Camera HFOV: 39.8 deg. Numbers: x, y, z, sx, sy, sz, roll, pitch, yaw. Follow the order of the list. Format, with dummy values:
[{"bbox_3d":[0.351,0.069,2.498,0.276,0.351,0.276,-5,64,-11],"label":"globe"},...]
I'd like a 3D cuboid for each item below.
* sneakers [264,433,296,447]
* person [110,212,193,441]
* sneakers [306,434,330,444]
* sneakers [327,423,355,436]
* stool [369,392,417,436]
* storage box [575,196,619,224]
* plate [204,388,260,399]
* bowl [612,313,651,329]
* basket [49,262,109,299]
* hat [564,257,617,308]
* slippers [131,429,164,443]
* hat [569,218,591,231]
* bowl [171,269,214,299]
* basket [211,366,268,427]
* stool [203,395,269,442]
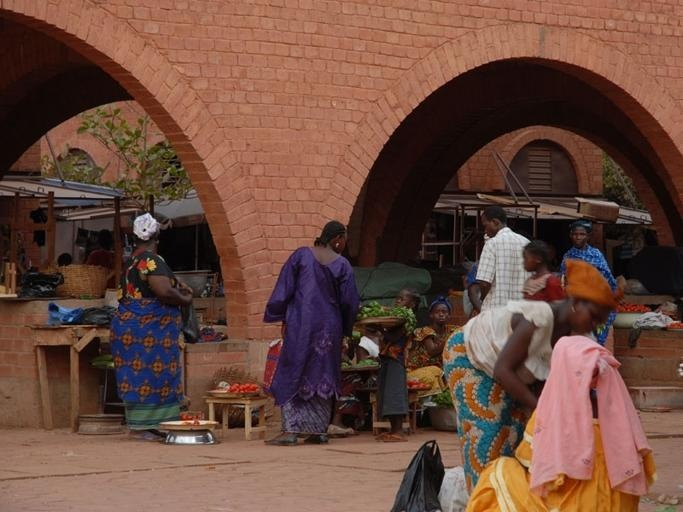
[{"bbox_3d":[-0.621,1.807,9.316,0.332,0.149,0.120,2,-2,19],"label":"sneakers"},{"bbox_3d":[-1.935,0.709,9.448,0.747,2.219,0.449,2,-6,-16],"label":"person"},{"bbox_3d":[-0.235,1.811,9.395,0.270,0.118,0.090,0,-4,30],"label":"sneakers"},{"bbox_3d":[-0.004,1.825,9.888,0.271,0.120,0.111,2,1,-20],"label":"sneakers"},{"bbox_3d":[0.535,1.725,9.935,0.506,0.550,0.413,-2,-5,12],"label":"stool"},{"bbox_3d":[4.961,-0.920,18.056,0.694,0.534,1.350,-2,-7,23],"label":"storage box"},{"bbox_3d":[-1.115,1.415,9.784,0.595,0.119,0.299,1,-6,-7],"label":"plate"},{"bbox_3d":[4.139,0.909,13.354,0.309,0.212,0.372,4,-7,-33],"label":"bowl"},{"bbox_3d":[-3.111,0.301,11.247,0.466,0.351,0.392,1,-3,-2],"label":"basket"},{"bbox_3d":[1.548,0.168,5.799,0.321,0.311,0.183,-1,-6,16],"label":"hat"},{"bbox_3d":[-1.936,1.831,9.593,0.175,0.106,0.253,2,-9,20],"label":"slippers"},{"bbox_3d":[2.691,-0.340,10.419,0.212,0.121,0.317,0,-4,20],"label":"hat"},{"bbox_3d":[-1.994,0.342,12.608,0.574,0.417,0.609,0,-4,0],"label":"bowl"},{"bbox_3d":[-1.207,1.575,10.434,0.566,0.475,0.691,-1,1,5],"label":"basket"},{"bbox_3d":[-1.092,1.677,9.887,0.592,0.463,0.360,1,-4,16],"label":"stool"}]
